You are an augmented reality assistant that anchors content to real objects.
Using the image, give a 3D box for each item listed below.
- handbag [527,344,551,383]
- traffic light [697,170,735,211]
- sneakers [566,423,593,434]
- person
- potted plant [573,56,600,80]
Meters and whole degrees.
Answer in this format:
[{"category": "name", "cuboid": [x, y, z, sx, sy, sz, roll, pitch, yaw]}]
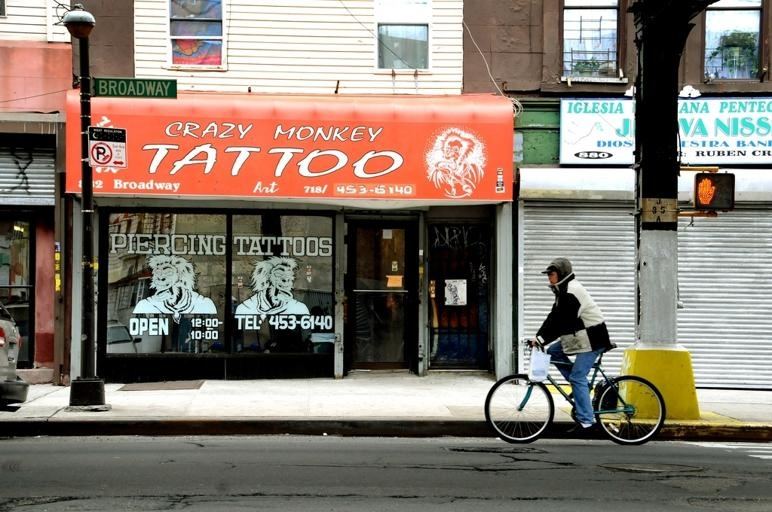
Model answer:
[{"category": "handbag", "cuboid": [2.558, 1.813, 21.291, 0.444, 0.569, 0.254, -2, 1, -11]}, {"category": "traffic light", "cuboid": [5.763, -1.148, 22.211, 0.771, 0.701, 0.386, 0, 3, 4]}, {"category": "sneakers", "cuboid": [3.237, 2.933, 21.430, 0.566, 0.229, 0.191, 1, 3, 12]}, {"category": "person", "cuboid": [3.142, 1.467, 21.304, 1.183, 2.869, 0.401, -2, 1, 7]}, {"category": "potted plant", "cuboid": [4.040, -3.852, 25.834, 0.434, 0.395, 0.185, 2, -7, 1]}]
